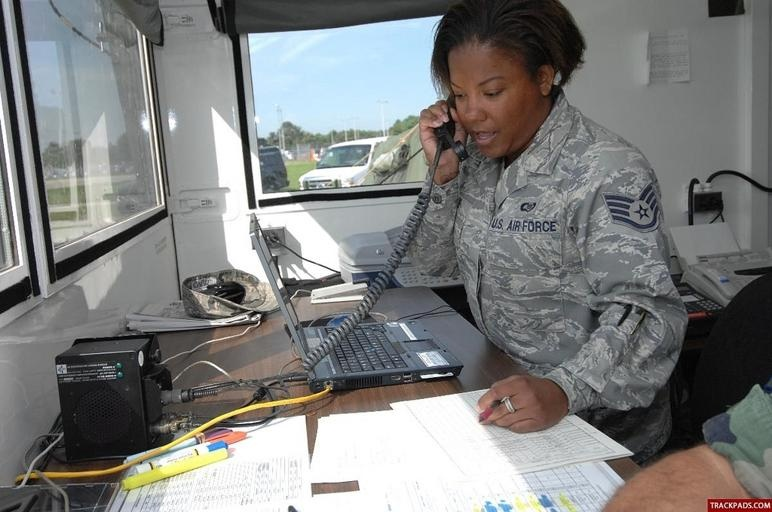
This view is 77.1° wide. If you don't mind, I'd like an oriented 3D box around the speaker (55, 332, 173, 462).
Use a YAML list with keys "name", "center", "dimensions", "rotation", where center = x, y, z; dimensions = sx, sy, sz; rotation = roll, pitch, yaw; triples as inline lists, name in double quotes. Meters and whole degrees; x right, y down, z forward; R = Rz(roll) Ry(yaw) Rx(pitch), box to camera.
- name: "speaker"
  center: [-0.723, 0.368, 1.298]
  dimensions: [0.238, 0.278, 0.170]
  rotation: [-5, 14, 0]

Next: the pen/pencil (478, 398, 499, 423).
- name: "pen/pencil"
  center: [0.271, 0.403, 1.268]
  dimensions: [0.076, 0.020, 0.025]
  rotation: [-36, 3, -13]

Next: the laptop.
- name: "laptop"
  center: [-0.094, 0.046, 1.575]
  dimensions: [0.584, 0.451, 0.598]
  rotation: [-9, 16, -13]

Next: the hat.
- name: "hat"
  center: [-0.654, 0.137, 2.166]
  dimensions: [0.369, 0.202, 0.393]
  rotation: [3, 15, -2]

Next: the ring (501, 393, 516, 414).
- name: "ring"
  center: [0.315, 0.381, 1.244]
  dimensions: [0.027, 0.034, 0.032]
  rotation: [-6, 14, -7]

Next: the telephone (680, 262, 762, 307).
- name: "telephone"
  center: [1.930, 0.125, 2.710]
  dimensions: [0.434, 0.130, 0.348]
  rotation: [-12, 22, -20]

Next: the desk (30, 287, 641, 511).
- name: "desk"
  center: [-0.161, 0.435, 1.594]
  dimensions: [0.692, 0.275, 1.527]
  rotation: [3, 9, -5]
